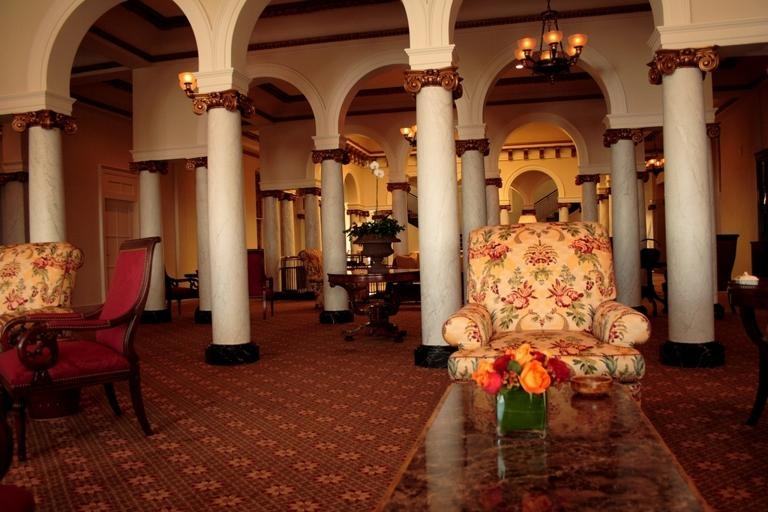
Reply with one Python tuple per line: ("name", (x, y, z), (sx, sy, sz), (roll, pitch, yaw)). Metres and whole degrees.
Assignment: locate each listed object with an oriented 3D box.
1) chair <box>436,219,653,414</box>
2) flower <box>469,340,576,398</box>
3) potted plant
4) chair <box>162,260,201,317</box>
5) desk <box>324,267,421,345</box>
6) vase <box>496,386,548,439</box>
("chair", (1.432, 0.455, 5.125), (1.588, 1.751, 1.653), (-1, -8, 9))
("flower", (0.788, 0.674, 3.348), (0.553, 0.209, 0.514), (-24, 12, -25))
("potted plant", (-0.104, -0.161, 8.819), (0.880, 0.812, 0.845), (-5, -2, 17))
("chair", (-4.676, 0.753, 13.055), (1.033, 1.249, 1.016), (-3, -3, 4))
("desk", (-0.122, 0.803, 9.101), (1.576, 1.118, 1.516), (-2, -2, 2))
("vase", (0.793, 0.904, 3.225), (0.280, 0.220, 0.278), (-1, 4, 3))
